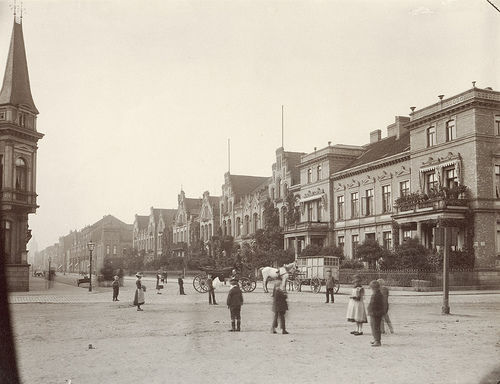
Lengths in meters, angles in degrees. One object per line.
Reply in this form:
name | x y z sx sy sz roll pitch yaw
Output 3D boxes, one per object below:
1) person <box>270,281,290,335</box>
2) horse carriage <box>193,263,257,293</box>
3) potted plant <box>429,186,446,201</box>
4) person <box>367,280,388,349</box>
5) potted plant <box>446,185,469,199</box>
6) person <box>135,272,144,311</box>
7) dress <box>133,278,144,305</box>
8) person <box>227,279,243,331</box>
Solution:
person | 1.159 4.559 28.913 0.688 2.081 1.145 -1 -9 2
horse carriage | -1.329 7.088 54.077 6.050 2.563 3.025 -2 -3 -6
potted plant | 14.663 0.221 58.034 0.481 1.072 2.613 2 -6 -13
person | 4.471 4.373 26.258 0.518 2.335 0.927 -3 -10 13
potted plant | 15.876 -0.014 56.618 1.120 0.618 1.099 -2 -11 39
person | -5.625 5.334 37.594 0.418 1.501 0.921 0 -10 -9
dress | -5.707 5.181 37.999 0.471 1.351 1.687 0 -10 -9
person | -0.583 4.584 29.802 0.621 2.076 1.119 -1 -9 -2
